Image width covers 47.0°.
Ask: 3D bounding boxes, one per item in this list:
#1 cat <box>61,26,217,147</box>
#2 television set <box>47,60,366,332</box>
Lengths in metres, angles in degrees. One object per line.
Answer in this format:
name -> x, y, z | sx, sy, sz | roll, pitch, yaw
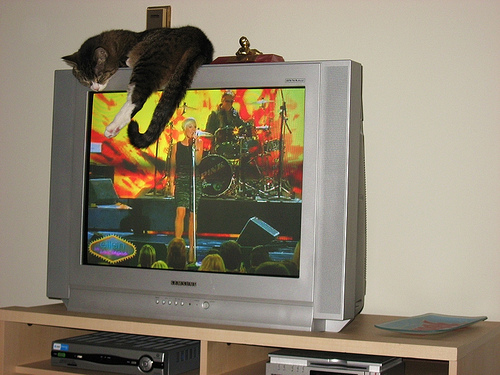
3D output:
cat -> -0.391, -0.428, 2.297 | 0.513, 0.507, 0.208 | -6, -22, 9
television set -> -0.170, 0.043, 2.409 | 1.197, 0.962, 0.625 | 2, 2, 13
